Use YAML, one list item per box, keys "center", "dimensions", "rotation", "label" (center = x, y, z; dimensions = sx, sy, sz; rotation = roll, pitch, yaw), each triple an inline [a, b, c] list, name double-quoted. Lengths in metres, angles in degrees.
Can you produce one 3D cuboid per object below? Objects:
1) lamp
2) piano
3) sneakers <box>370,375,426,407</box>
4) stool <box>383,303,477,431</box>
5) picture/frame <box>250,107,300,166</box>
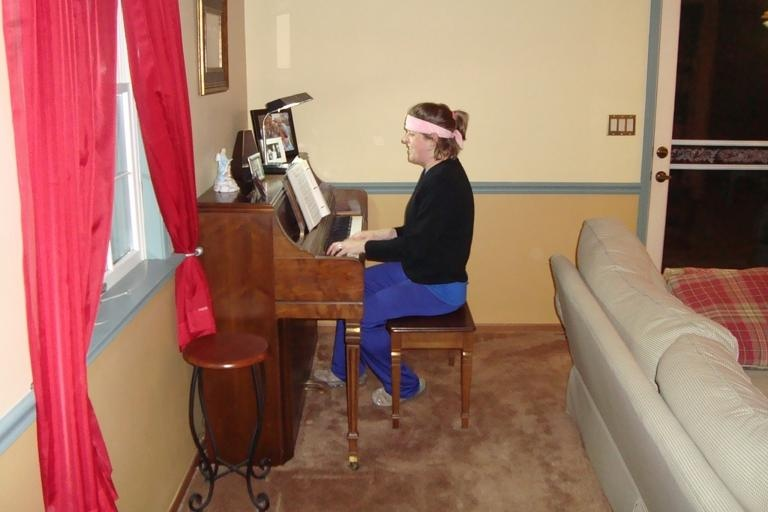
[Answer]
- center: [-0.668, -0.851, 4.061]
  dimensions: [0.291, 0.639, 0.606]
  rotation: [3, 13, 7]
  label: "lamp"
- center: [-0.569, 0.330, 3.245]
  dimensions: [0.630, 1.346, 1.366]
  rotation: [-1, 26, -1]
  label: "piano"
- center: [0.092, 0.912, 3.937]
  dimensions: [0.372, 0.161, 0.145]
  rotation: [-13, 25, -26]
  label: "sneakers"
- center: [0.258, 0.562, 3.786]
  dimensions: [0.578, 0.702, 0.802]
  rotation: [-1, 14, 0]
  label: "stool"
- center: [-0.734, -0.793, 3.975]
  dimensions: [0.032, 0.404, 0.444]
  rotation: [-6, 14, 23]
  label: "picture/frame"
